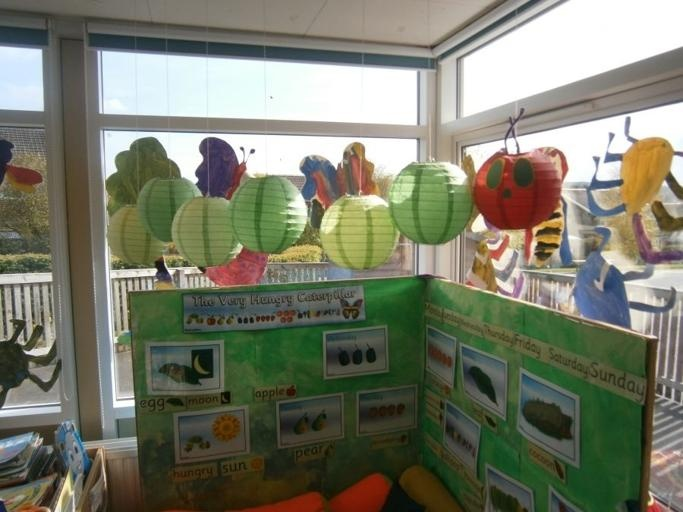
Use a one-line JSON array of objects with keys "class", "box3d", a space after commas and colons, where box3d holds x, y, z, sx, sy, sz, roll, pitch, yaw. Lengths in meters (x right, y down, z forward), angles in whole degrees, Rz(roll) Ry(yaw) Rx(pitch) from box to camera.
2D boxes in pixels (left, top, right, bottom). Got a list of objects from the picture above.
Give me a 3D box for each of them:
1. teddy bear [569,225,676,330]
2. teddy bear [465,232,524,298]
[{"class": "teddy bear", "box3d": [1.805, 0.123, 3.501, 0.202, 0.628, 0.646, -4, 6, -28]}, {"class": "teddy bear", "box3d": [1.247, 0.098, 4.231, 0.435, 0.499, 0.147, -2, -18, 27]}]
